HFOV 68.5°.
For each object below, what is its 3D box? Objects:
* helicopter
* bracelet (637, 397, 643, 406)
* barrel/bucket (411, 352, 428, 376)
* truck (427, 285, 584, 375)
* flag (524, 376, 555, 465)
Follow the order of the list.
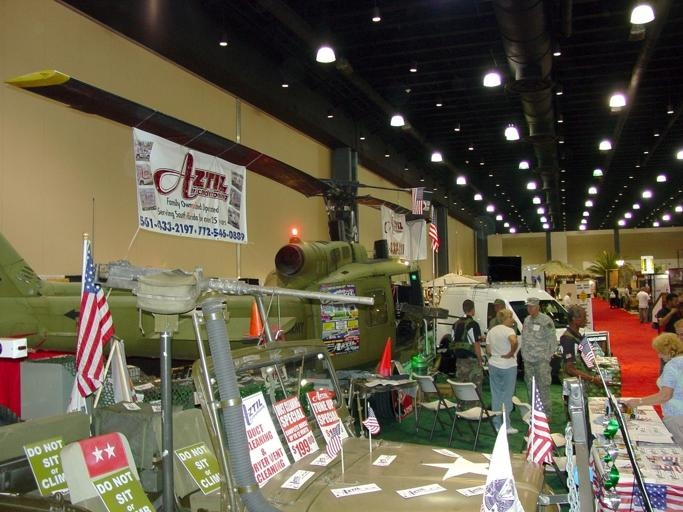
[{"bbox_3d":[-1.298,0.265,8.211,4.526,2.185,5.533,1,0,39],"label":"helicopter"},{"bbox_3d":[3.230,1.586,5.425,0.046,0.087,0.043,2,-1,-9],"label":"bracelet"},{"bbox_3d":[1.571,2.185,10.064,0.312,0.528,0.338,-2,-5,0],"label":"barrel/bucket"},{"bbox_3d":[4.272,1.885,13.771,3.212,1.852,2.129,-5,-5,42],"label":"truck"},{"bbox_3d":[1.249,1.066,3.189,0.149,0.666,0.597,-3,-3,21],"label":"flag"}]
